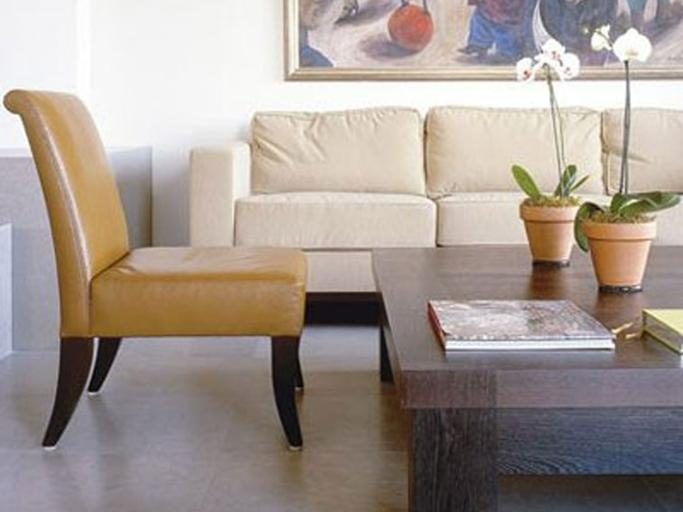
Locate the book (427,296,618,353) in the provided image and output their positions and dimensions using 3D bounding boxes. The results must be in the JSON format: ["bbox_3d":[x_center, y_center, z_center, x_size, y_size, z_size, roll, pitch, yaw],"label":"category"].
[{"bbox_3d":[0.359,0.129,1.396,0.347,0.031,0.293,0,13,-1],"label":"book"}]

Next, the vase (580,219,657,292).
[{"bbox_3d":[0.698,-0.003,1.700,0.165,0.156,0.172,-1,1,34],"label":"vase"}]

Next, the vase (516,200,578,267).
[{"bbox_3d":[0.596,-0.071,1.939,0.179,0.182,0.174,2,6,14],"label":"vase"}]

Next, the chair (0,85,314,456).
[{"bbox_3d":[-0.428,-0.074,2.447,1.085,1.229,0.847,0,6,-4],"label":"chair"}]
